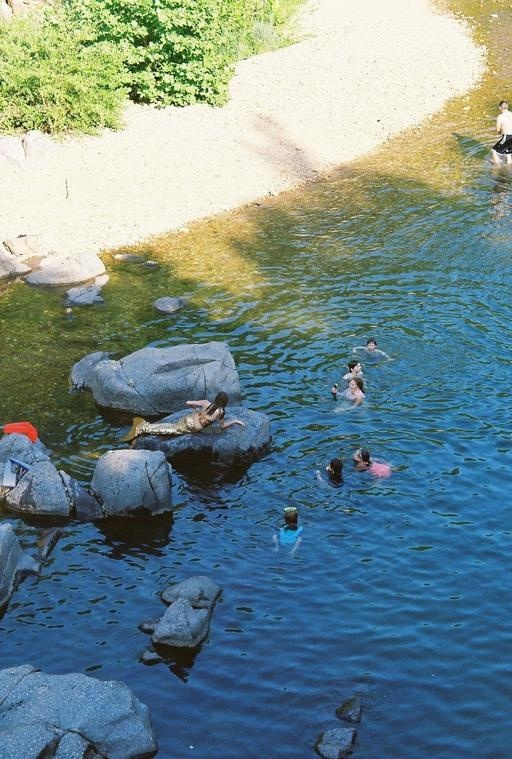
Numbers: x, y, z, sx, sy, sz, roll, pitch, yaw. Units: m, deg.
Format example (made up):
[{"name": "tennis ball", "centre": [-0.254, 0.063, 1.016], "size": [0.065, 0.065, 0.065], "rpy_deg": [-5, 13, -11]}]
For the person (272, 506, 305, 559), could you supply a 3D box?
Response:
[{"name": "person", "centre": [0.557, 2.527, 15.538], "size": [0.576, 0.359, 0.798], "rpy_deg": [-2, 39, 20]}]

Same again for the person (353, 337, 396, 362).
[{"name": "person", "centre": [2.774, -0.677, 21.063], "size": [0.767, 0.752, 0.267], "rpy_deg": [1, 4, 2]}]

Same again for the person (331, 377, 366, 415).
[{"name": "person", "centre": [2.014, 0.221, 19.285], "size": [0.728, 0.673, 0.982], "rpy_deg": [10, 32, 3]}]
